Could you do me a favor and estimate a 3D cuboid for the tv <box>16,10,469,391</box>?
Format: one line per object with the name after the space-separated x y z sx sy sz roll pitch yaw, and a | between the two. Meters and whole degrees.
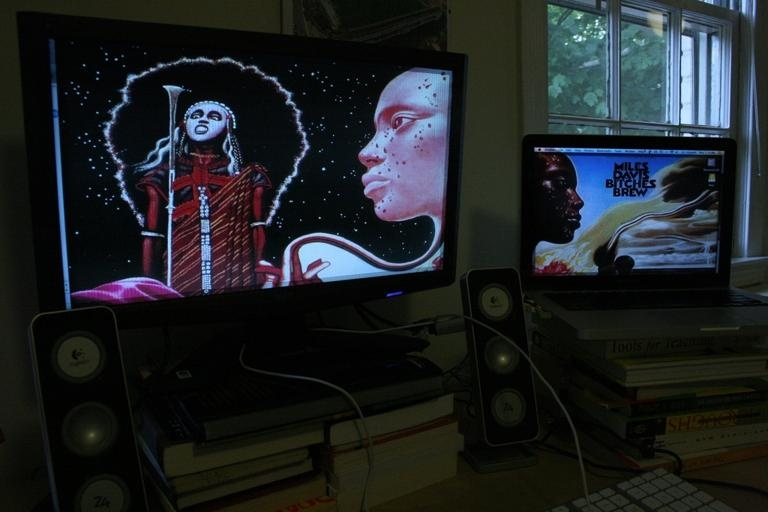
-0.303 -0.103 1.349 0.911 0.502 0.092 -3 6 -22 | tv

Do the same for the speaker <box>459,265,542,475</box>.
0.227 0.230 1.457 0.156 0.409 0.178 -6 8 4 | speaker
